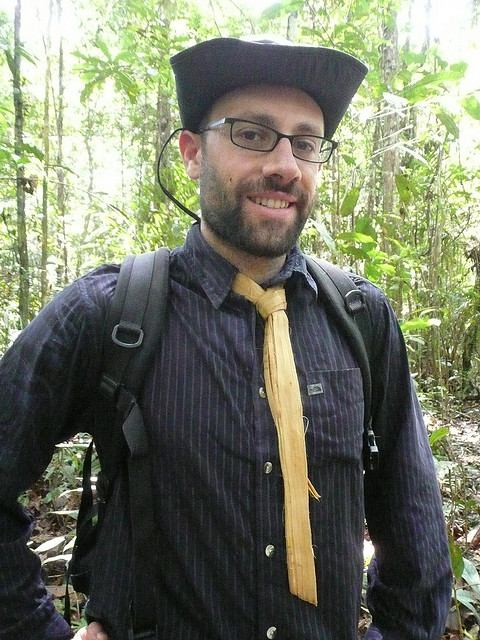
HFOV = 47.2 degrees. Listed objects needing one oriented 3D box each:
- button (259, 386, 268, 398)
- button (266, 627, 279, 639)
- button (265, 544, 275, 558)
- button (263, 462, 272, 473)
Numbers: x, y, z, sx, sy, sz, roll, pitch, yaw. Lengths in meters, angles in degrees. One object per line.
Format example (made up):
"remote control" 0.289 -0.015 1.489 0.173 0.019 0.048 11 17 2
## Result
"button" 0.063 0.200 1.508 0.019 0.026 0.009 17 -23 -14
"button" 0.083 0.796 1.390 0.030 0.029 0.006 4 -3 -34
"button" 0.077 0.596 1.409 0.026 0.033 0.004 3 -2 -28
"button" 0.073 0.390 1.441 0.026 0.027 0.007 3 -2 -25
